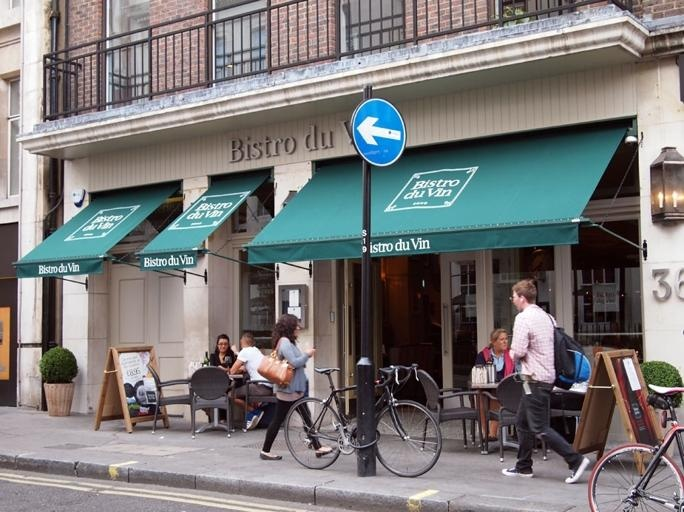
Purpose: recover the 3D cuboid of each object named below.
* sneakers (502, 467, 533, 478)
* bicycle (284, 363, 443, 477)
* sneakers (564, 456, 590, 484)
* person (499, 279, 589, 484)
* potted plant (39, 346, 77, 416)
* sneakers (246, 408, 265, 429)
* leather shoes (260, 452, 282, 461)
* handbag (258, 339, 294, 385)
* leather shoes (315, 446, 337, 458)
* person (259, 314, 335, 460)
[{"bbox_3d":[2.375,2.934,13.090,0.381,0.156,0.151,2,-6,27],"label":"sneakers"},{"bbox_3d":[0.211,2.272,13.426,2.418,1.480,0.694,-2,-2,29],"label":"bicycle"},{"bbox_3d":[3.096,2.891,12.753,0.210,0.515,0.186,21,37,1],"label":"sneakers"},{"bbox_3d":[2.647,1.672,12.990,0.985,2.685,0.504,-1,-6,11],"label":"person"},{"bbox_3d":[-5.597,2.499,19.180,0.720,1.345,0.510,1,-6,-16],"label":"potted plant"},{"bbox_3d":[-1.520,2.844,16.919,0.203,0.461,0.168,23,-40,-1],"label":"sneakers"},{"bbox_3d":[-1.038,2.938,14.163,0.323,0.133,0.119,0,-7,2],"label":"leather shoes"},{"bbox_3d":[-0.933,1.596,13.880,0.514,0.480,0.203,15,-7,30],"label":"handbag"},{"bbox_3d":[-0.235,2.767,13.618,0.229,0.109,0.136,-16,1,8],"label":"leather shoes"},{"bbox_3d":[-0.658,1.933,14.146,1.183,2.109,0.718,0,-3,-10],"label":"person"}]
